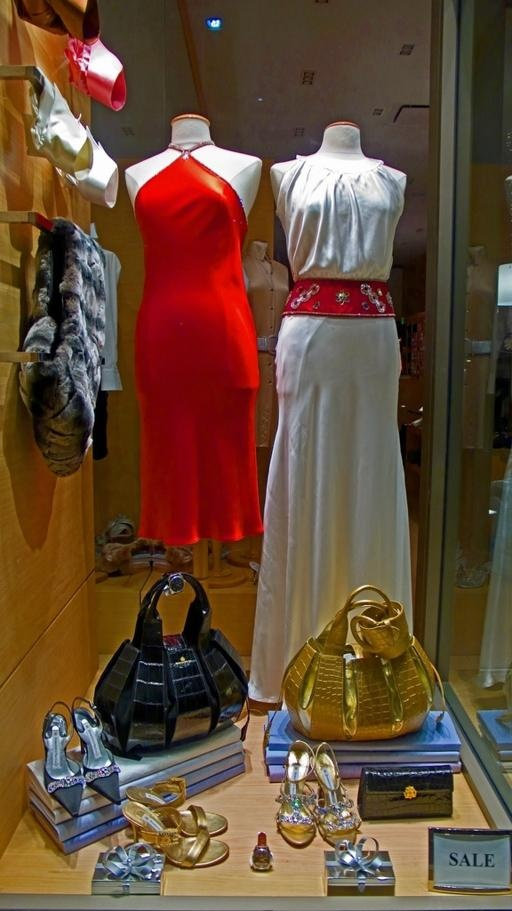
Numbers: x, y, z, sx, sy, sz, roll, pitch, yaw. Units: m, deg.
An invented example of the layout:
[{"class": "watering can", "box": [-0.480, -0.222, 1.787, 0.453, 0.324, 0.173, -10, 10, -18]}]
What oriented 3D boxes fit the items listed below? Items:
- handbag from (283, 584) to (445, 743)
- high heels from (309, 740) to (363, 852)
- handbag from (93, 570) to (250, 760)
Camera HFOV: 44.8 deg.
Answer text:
[{"class": "handbag", "box": [0.227, 0.454, 1.364, 0.316, 0.331, 0.218, -5, 8, 1]}, {"class": "high heels", "box": [0.156, 0.679, 1.238, 0.063, 0.039, 0.221, 7, 14, -6]}, {"class": "handbag", "box": [-0.172, 0.440, 1.341, 0.311, 0.368, 0.160, -3, 8, -26]}]
